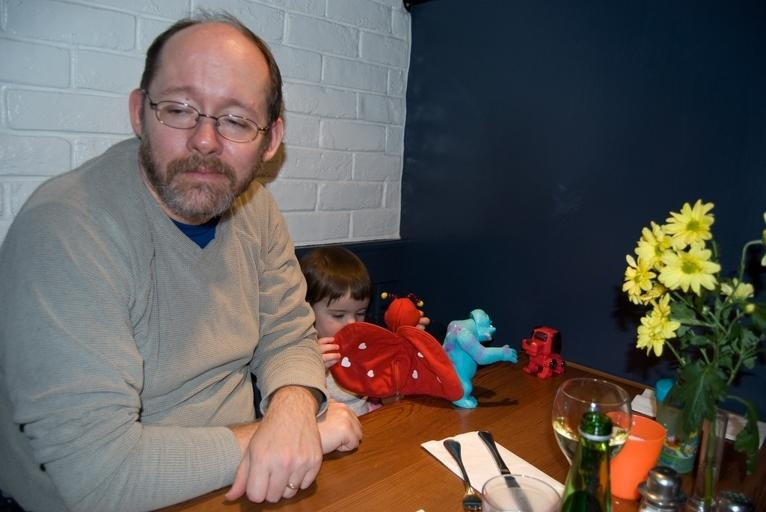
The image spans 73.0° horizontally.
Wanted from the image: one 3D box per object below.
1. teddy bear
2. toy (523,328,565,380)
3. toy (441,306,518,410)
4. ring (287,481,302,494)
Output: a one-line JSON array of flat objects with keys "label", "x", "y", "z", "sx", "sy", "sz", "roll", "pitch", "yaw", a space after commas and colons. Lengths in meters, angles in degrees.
[{"label": "teddy bear", "x": 0.041, "y": 0.282, "z": 1.412, "sx": 0.300, "sy": 0.261, "sz": 0.119, "roll": 6, "pitch": -31, "yaw": 11}, {"label": "toy", "x": 0.471, "y": 0.287, "z": 1.523, "sx": 0.146, "sy": 0.138, "sz": 0.100, "roll": 3, "pitch": -1, "yaw": -35}, {"label": "toy", "x": 0.234, "y": 0.249, "z": 1.407, "sx": 0.241, "sy": 0.279, "sz": 0.216, "roll": -3, "pitch": 8, "yaw": -15}, {"label": "ring", "x": -0.179, "y": 0.468, "z": 1.045, "sx": 0.022, "sy": 0.016, "sz": 0.022, "roll": 2, "pitch": -1, "yaw": 0}]
